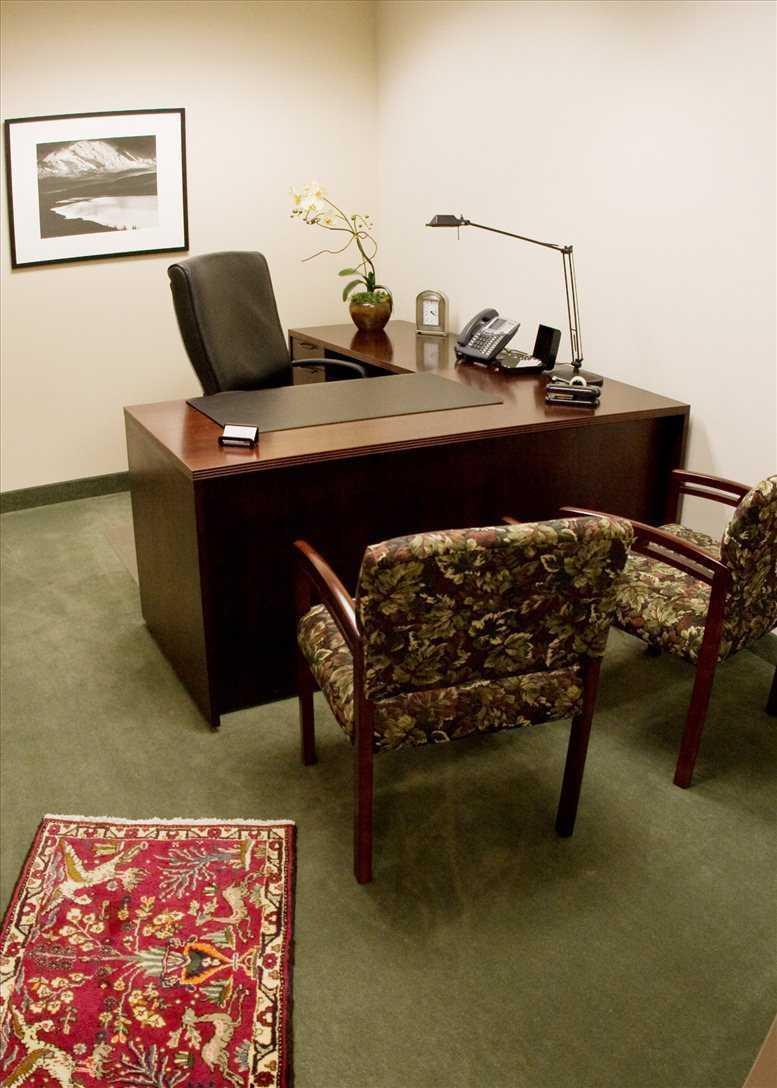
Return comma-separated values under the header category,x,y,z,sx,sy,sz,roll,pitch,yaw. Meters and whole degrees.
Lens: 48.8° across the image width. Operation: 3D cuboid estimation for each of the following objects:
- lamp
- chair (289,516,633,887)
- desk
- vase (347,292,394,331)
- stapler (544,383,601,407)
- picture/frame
category,x,y,z,sx,sy,sz,roll,pitch,yaw
lamp,0.467,-0.884,3.079,0.629,0.631,0.202,7,48,13
chair,0.119,0.223,1.789,0.571,0.764,0.629,-12,27,-25
desk,-0.075,-0.116,2.358,1.217,0.653,1.252,-10,25,-22
vase,-0.087,-1.016,3.792,0.171,0.127,0.166,19,32,31
stapler,0.570,-0.467,2.680,0.210,0.082,0.068,3,33,7
picture/frame,-1.258,-1.520,3.599,0.964,0.712,0.031,-12,26,-30
